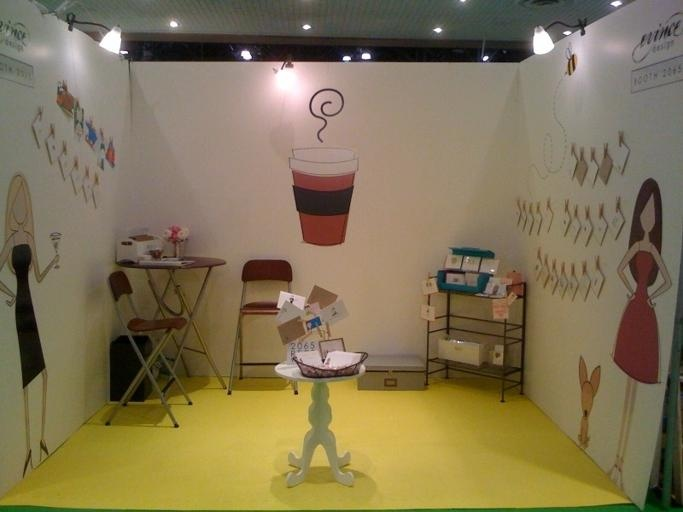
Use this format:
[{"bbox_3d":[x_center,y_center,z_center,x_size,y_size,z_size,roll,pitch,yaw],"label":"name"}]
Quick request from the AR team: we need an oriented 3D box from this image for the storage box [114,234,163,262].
[{"bbox_3d":[-1.919,-0.100,4.901,0.234,0.227,0.344,2,4,27],"label":"storage box"}]

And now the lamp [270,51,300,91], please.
[{"bbox_3d":[-0.545,-1.800,5.148,0.269,0.425,0.245,2,9,-5],"label":"lamp"}]

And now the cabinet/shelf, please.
[{"bbox_3d":[1.338,0.762,5.145,1.077,1.495,0.486,0,-1,30],"label":"cabinet/shelf"}]

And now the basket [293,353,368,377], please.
[{"bbox_3d":[-0.084,0.729,3.545,0.497,0.104,0.263,0,11,-2],"label":"basket"}]

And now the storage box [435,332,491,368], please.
[{"bbox_3d":[1.193,0.987,5.236,0.511,0.348,0.381,5,12,22],"label":"storage box"}]

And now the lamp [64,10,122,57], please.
[{"bbox_3d":[-2.138,-1.950,4.585,0.370,0.357,0.875,-4,12,-21],"label":"lamp"}]

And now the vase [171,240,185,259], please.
[{"bbox_3d":[-1.607,-0.063,5.189,0.168,0.210,0.174,1,2,0],"label":"vase"}]

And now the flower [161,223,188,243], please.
[{"bbox_3d":[-1.598,-0.221,5.023,0.159,0.130,0.192,0,5,-30],"label":"flower"}]

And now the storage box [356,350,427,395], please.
[{"bbox_3d":[0.507,1.153,5.241,0.702,0.240,0.381,0,11,-1],"label":"storage box"}]

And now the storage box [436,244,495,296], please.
[{"bbox_3d":[1.248,0.165,5.255,0.563,0.599,0.398,4,5,33],"label":"storage box"}]

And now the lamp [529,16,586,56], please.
[{"bbox_3d":[1.746,-1.792,4.213,0.367,0.206,0.132,3,30,37],"label":"lamp"}]

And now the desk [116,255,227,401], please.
[{"bbox_3d":[-1.651,0.641,5.365,1.089,1.402,1.140,-1,4,-6],"label":"desk"}]

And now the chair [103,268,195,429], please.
[{"bbox_3d":[-1.758,0.800,4.751,0.728,1.365,0.752,-3,5,-24],"label":"chair"}]

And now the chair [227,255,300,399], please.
[{"bbox_3d":[-0.801,0.672,5.175,0.663,1.204,0.557,-1,11,-7],"label":"chair"}]
